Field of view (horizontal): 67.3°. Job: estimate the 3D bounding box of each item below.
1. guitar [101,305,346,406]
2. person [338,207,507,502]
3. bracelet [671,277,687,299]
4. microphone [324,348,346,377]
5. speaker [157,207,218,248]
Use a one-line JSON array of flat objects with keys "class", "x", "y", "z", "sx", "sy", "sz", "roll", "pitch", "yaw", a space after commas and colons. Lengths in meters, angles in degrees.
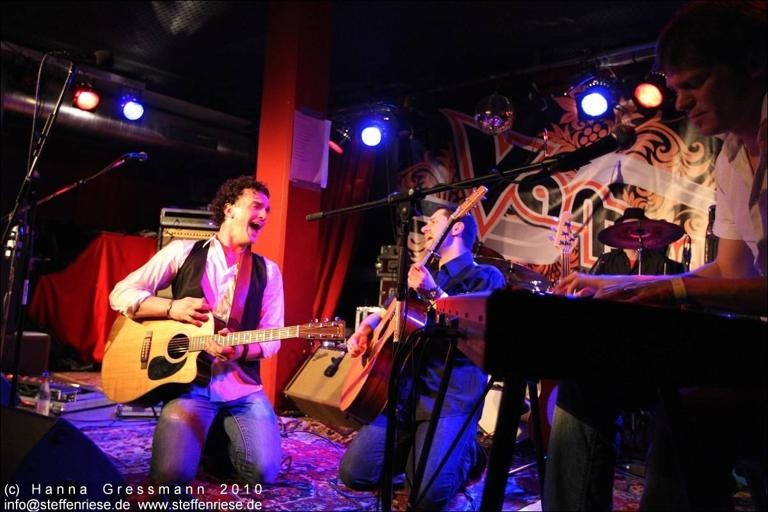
[{"class": "guitar", "x": -1.146, "y": 0.658, "z": 3.620, "sx": 1.226, "sy": 0.615, "sz": 0.230, "roll": 5, "pitch": -15, "yaw": 12}, {"class": "person", "x": 0.324, "y": 0.753, "z": 3.698, "sx": 0.458, "sy": 1.892, "sz": 1.015, "roll": 19, "pitch": 9, "yaw": -26}, {"class": "bracelet", "x": 1.194, "y": 0.134, "z": 2.332, "sx": 0.025, "sy": 0.061, "sz": 0.065, "roll": 4, "pitch": -17, "yaw": 17}, {"class": "microphone", "x": -0.391, "y": 0.868, "z": 4.895, "sx": 0.093, "sy": 0.129, "sz": 0.359, "roll": 7, "pitch": 27, "yaw": 21}, {"class": "speaker", "x": -1.914, "y": -0.201, "z": 5.584, "sx": 0.621, "sy": 0.422, "sz": 0.399, "roll": 2, "pitch": 0, "yaw": -36}]
